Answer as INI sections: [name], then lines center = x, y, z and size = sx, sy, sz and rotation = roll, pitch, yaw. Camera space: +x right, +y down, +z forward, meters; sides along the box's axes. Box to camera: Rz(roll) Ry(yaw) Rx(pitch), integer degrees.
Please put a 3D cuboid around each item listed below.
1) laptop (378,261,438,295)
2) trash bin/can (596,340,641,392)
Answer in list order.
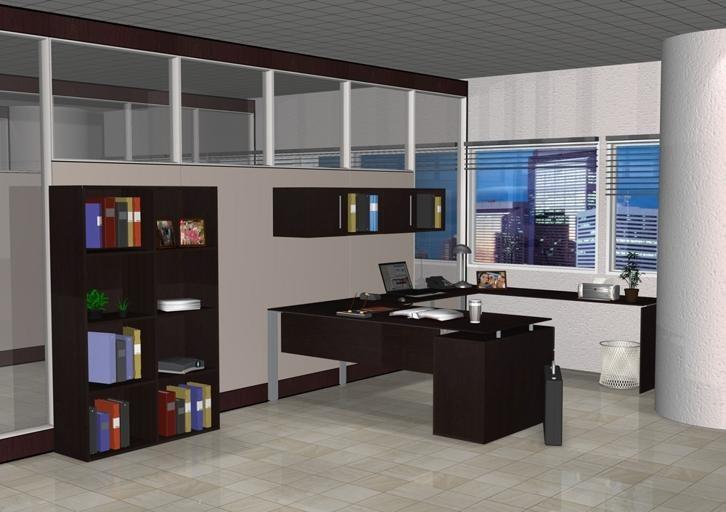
[laptop]
center = 0.448, 0.249, 7.021
size = 0.645, 0.356, 0.244
rotation = -4, 6, -38
[trash bin/can]
center = 2.934, 1.235, 7.041
size = 0.578, 0.509, 0.549
rotation = 0, 2, 24
